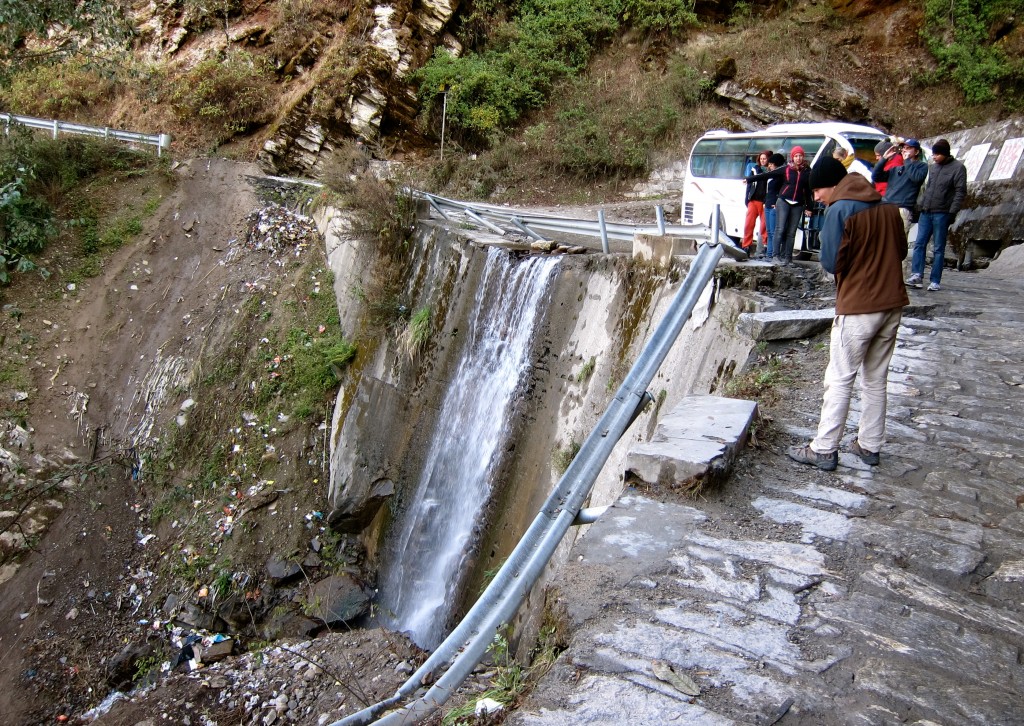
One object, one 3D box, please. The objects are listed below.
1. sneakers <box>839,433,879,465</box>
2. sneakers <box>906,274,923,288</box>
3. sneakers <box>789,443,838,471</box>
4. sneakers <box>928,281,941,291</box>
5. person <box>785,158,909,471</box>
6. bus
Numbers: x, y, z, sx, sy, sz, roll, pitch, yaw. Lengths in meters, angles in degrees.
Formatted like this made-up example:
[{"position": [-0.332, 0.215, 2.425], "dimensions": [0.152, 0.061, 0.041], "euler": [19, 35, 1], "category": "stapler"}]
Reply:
[{"position": [3.587, 0.917, 7.921], "dimensions": [0.144, 0.185, 0.405], "euler": [-10, 32, -18], "category": "sneakers"}, {"position": [6.203, -1.241, 11.777], "dimensions": [0.292, 0.158, 0.120], "euler": [16, 30, 34], "category": "sneakers"}, {"position": [3.047, 0.961, 7.799], "dimensions": [0.463, 0.218, 0.222], "euler": [21, 25, 25], "category": "sneakers"}, {"position": [6.523, -1.155, 11.772], "dimensions": [0.099, 0.141, 0.302], "euler": [2, 6, 44], "category": "sneakers"}, {"position": [3.410, -0.443, 7.694], "dimensions": [1.017, 3.058, 0.747], "euler": [10, 13, 23], "category": "person"}, {"position": [5.679, -3.714, 15.930], "dimensions": [1.652, 2.349, 4.964], "euler": [-10, 17, -23], "category": "bus"}]
